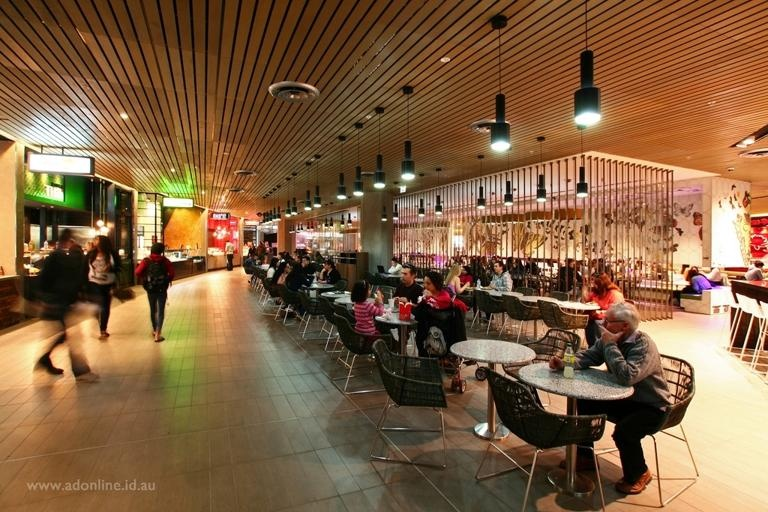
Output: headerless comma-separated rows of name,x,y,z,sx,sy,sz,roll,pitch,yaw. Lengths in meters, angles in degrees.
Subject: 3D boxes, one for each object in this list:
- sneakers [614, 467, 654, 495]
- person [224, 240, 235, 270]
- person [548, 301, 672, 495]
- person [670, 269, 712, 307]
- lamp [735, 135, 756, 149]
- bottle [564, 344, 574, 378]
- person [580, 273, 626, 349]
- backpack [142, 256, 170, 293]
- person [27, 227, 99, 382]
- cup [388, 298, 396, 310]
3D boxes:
sneakers,3.093,2.778,6.050,0.418,0.198,0.212,-8,-12,-21
person,-8.585,0.011,27.205,0.377,1.560,1.276,1,2,-15
person,2.980,1.822,6.375,1.272,2.118,1.177,6,-2,-23
person,8.830,0.966,14.044,0.606,0.639,1.880,-16,3,8
lamp,7.506,-2.346,10.096,0.525,0.122,0.246,-14,-12,-44
bottle,2.308,1.291,6.098,0.134,0.278,0.280,2,2,20
person,4.016,1.034,9.092,0.728,1.387,0.647,-5,7,-22
backpack,-4.558,0.445,9.881,0.540,0.759,0.391,-7,-14,-1
person,-5.332,0.791,8.131,0.678,2.423,0.777,3,2,43
cup,0.135,0.860,8.576,0.151,0.232,0.155,2,-4,0
